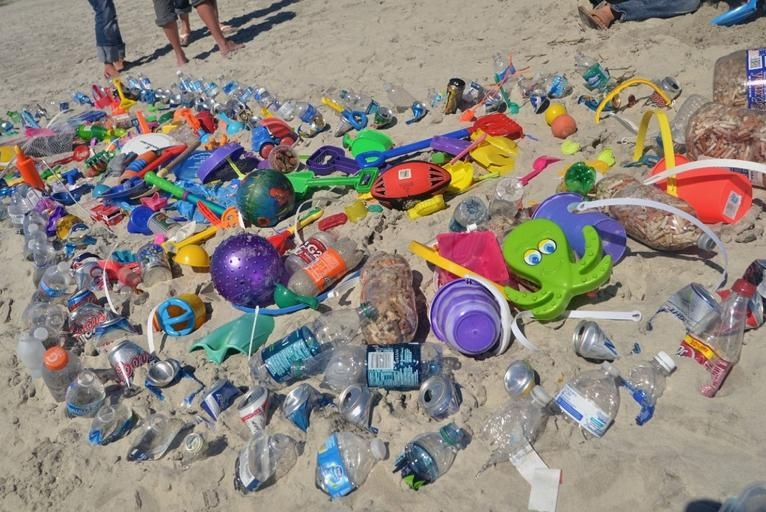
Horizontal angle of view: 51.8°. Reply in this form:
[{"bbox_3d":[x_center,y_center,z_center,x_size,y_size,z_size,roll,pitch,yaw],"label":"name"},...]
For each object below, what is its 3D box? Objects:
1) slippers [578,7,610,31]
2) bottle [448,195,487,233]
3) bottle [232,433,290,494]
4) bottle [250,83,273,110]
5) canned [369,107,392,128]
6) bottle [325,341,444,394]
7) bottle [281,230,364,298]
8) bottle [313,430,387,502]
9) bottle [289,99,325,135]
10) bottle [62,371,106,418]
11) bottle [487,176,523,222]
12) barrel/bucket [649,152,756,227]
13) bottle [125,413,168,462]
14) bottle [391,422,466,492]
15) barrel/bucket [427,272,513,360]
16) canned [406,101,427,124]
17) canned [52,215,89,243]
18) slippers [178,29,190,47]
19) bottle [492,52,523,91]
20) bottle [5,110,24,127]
[{"bbox_3d":[2.369,-2.653,8.800,0.425,0.183,0.161,30,31,14],"label":"slippers"},{"bbox_3d":[0.761,-0.364,7.099,0.287,0.293,0.327,10,88,13],"label":"bottle"},{"bbox_3d":[-0.963,1.642,6.299,0.567,0.218,0.323,-27,45,-13],"label":"bottle"},{"bbox_3d":[-1.434,-1.852,9.278,0.181,0.123,0.324,-26,42,-9],"label":"bottle"},{"bbox_3d":[-0.032,-1.441,8.467,0.175,0.133,0.236,32,53,-1],"label":"canned"},{"bbox_3d":[0.029,0.958,6.572,0.966,0.445,0.432,-4,38,13],"label":"bottle"},{"bbox_3d":[-0.506,0.129,7.002,0.738,0.318,0.363,-32,60,-13],"label":"bottle"},{"bbox_3d":[-0.308,1.632,6.247,0.571,0.238,0.401,-32,46,-17],"label":"bottle"},{"bbox_3d":[-0.850,-1.513,8.700,0.242,0.416,0.273,0,73,31],"label":"bottle"},{"bbox_3d":[-2.543,1.190,6.644,0.211,0.307,0.172,25,39,-10],"label":"bottle"},{"bbox_3d":[1.127,-0.536,7.202,0.331,0.345,0.321,23,78,5],"label":"bottle"},{"bbox_3d":[2.810,-0.576,6.770,0.560,0.606,0.839,-9,33,-44],"label":"barrel/bucket"},{"bbox_3d":[-1.936,1.511,6.460,0.142,0.241,0.384,6,58,51],"label":"bottle"},{"bbox_3d":[0.384,1.560,6.212,0.663,0.227,0.308,-33,46,-18],"label":"bottle"},{"bbox_3d":[0.694,0.536,6.513,0.604,0.517,0.483,-11,42,3],"label":"barrel/bucket"},{"bbox_3d":[0.362,-1.521,8.455,0.155,0.278,0.146,10,20,8],"label":"canned"},{"bbox_3d":[-3.198,-0.260,7.968,0.192,0.110,0.190,-21,84,-21],"label":"canned"},{"bbox_3d":[-2.828,-3.070,11.183,0.105,0.077,0.302,-3,71,2],"label":"slippers"},{"bbox_3d":[1.379,-2.019,8.706,0.144,0.396,0.407,-36,60,26],"label":"bottle"},{"bbox_3d":[-4.804,-1.807,10.242,0.195,0.220,0.056,15,25,3],"label":"bottle"}]
